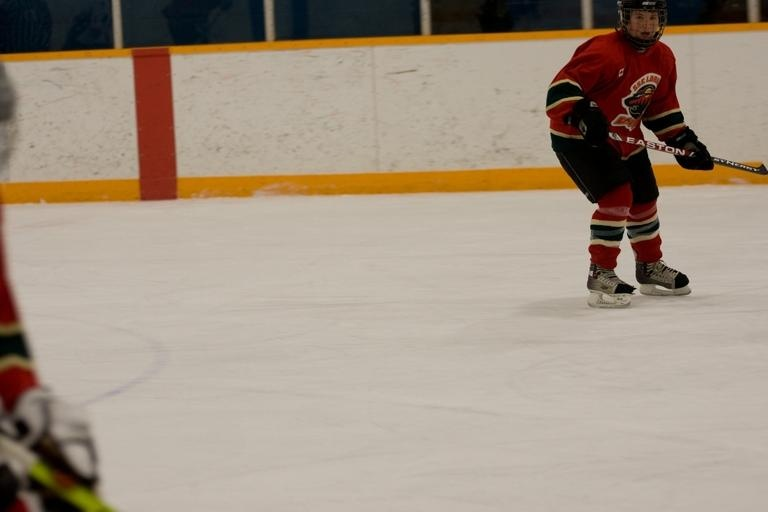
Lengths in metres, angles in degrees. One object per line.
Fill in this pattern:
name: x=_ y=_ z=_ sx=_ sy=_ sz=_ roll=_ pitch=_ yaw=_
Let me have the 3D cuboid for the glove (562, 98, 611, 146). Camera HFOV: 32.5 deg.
glove: x=1.041 y=-0.693 z=6.718 sx=0.256 sy=0.183 sz=0.109 roll=48 pitch=36 yaw=16
